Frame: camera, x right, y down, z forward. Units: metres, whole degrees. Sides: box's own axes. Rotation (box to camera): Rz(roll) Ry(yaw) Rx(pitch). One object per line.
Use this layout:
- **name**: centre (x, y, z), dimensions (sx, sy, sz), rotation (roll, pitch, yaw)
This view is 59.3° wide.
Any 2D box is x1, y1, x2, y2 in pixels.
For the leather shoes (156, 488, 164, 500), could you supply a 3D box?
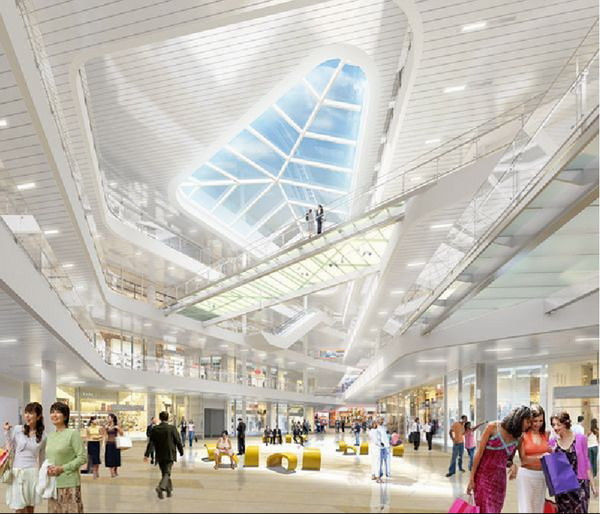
- **leather shoes**: centre (-2.628, 4.455, 9.953), dimensions (0.124, 0.255, 0.130), rotation (-6, 6, -1)

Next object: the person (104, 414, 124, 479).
- **person**: centre (-4.916, 4.902, 13.841), dimensions (0.482, 1.559, 1.383), rotation (8, -20, -16)

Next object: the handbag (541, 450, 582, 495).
- **handbag**: centre (2.860, 2.355, 5.761), dimensions (0.297, 0.459, 0.493), rotation (-9, -21, 27)
